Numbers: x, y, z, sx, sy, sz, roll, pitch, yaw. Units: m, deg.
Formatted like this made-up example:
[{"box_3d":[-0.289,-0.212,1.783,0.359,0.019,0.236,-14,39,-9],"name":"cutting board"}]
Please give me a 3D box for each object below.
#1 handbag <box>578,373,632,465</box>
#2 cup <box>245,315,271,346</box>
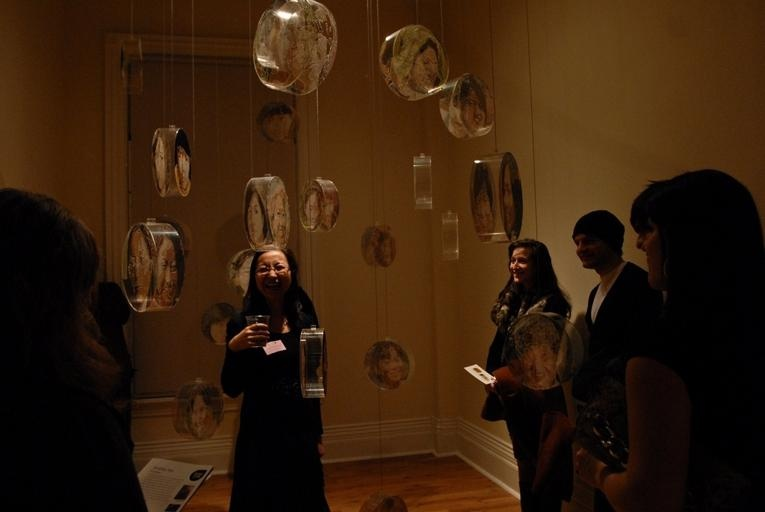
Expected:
[{"box_3d":[0.825,0.642,2.293,0.075,0.249,0.190,0,37,6],"name":"handbag"},{"box_3d":[-0.702,0.405,3.551,0.151,0.200,0.172,-1,-13,2],"name":"cup"}]
